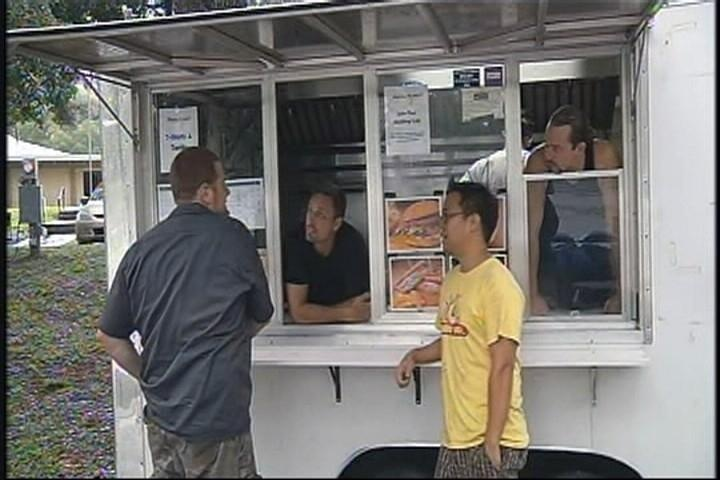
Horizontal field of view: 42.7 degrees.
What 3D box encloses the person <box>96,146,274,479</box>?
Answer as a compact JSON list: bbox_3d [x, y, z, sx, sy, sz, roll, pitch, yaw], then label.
[{"bbox_3d":[-0.882,0.354,4.931,0.653,1.768,0.866,0,2,4],"label":"person"}]
